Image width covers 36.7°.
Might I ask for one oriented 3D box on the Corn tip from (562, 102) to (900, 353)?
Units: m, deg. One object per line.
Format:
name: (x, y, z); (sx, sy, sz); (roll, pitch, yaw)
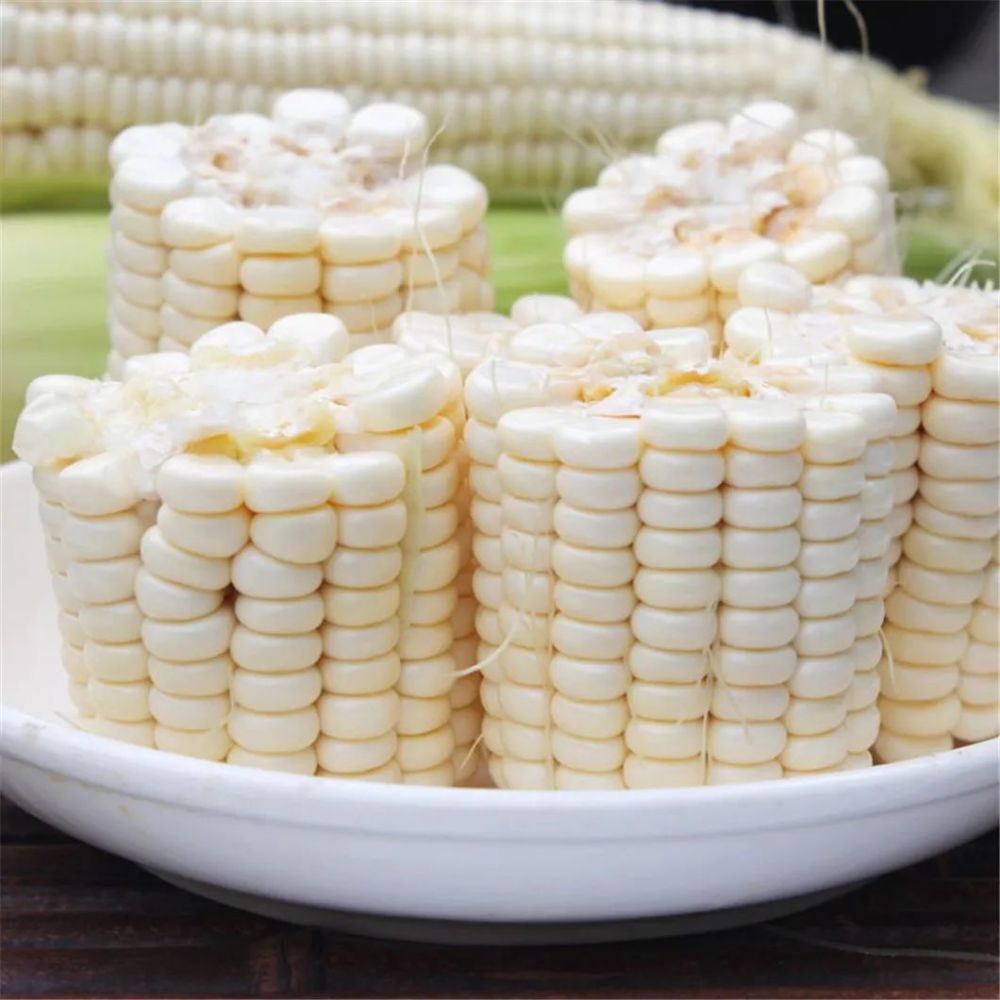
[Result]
Corn tip: (0.200, -0.244, 1.278); (0.271, 0.090, 0.276); (-29, 36, -30)

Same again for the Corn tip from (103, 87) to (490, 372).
Corn tip: (-0.162, -0.198, 1.171); (0.313, 0.128, 0.253); (0, 6, -4)
